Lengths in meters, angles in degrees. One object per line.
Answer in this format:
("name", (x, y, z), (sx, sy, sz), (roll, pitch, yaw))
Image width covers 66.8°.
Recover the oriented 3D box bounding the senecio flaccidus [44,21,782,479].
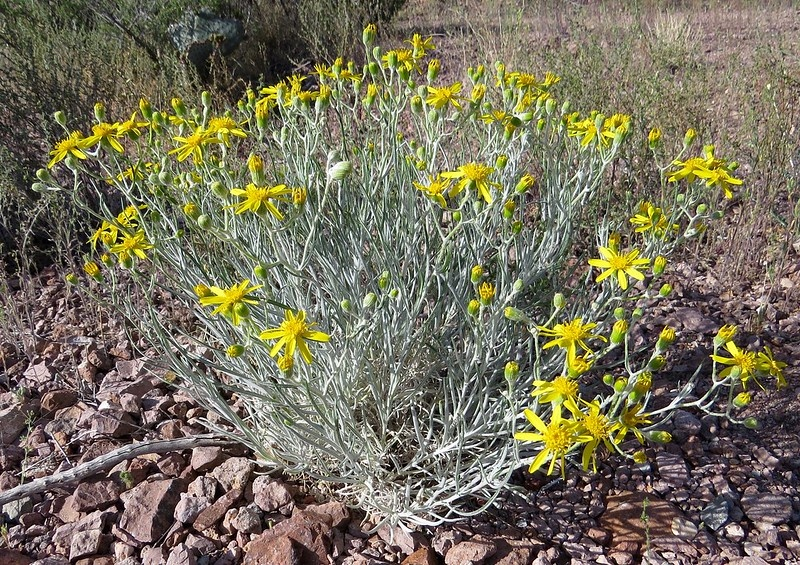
("senecio flaccidus", (0.103, -0.135, 3.570), (2.916, 1.770, 2.703), (9, 14, -16))
